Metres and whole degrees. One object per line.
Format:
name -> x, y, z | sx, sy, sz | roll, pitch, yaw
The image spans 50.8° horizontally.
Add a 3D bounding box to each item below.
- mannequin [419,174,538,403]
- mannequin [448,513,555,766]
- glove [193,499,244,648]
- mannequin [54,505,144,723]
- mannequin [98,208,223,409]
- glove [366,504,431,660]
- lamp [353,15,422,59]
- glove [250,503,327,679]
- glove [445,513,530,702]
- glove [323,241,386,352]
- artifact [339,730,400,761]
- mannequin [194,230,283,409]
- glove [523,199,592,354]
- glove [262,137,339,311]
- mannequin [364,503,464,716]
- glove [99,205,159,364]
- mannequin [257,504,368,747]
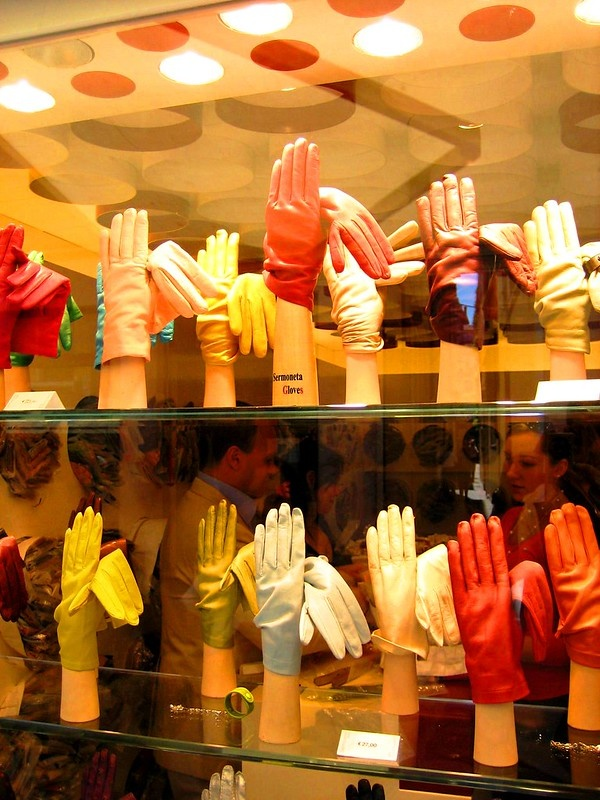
mannequin -> 0.252, -0.145, 0.853 | 0.128, 0.304, 0.184 | -5, -6, 38
mannequin -> 0.239, 0.275, 0.745 | 0.110, 0.282, 0.108 | -4, -5, 21
glove -> -0.122, 0.255, 0.931 | 0.072, 0.209, 0.056 | -1, -2, 11
mannequin -> -0.281, 0.295, 0.878 | 0.127, 0.290, 0.078 | -5, -5, 31
mannequin -> -0.199, -0.128, 0.876 | 0.174, 0.279, 0.099 | -2, -5, -2
glove -> 0.138, 0.232, 0.827 | 0.071, 0.190, 0.135 | -4, -5, 28
lamp -> 0.139, -0.577, 1.013 | 0.109, 0.023, 0.087 | -1, -4, -7
glove -> -0.030, 0.239, 0.802 | 0.070, 0.212, 0.047 | 0, 8, 1
glove -> 0.213, 0.238, 0.732 | 0.074, 0.207, 0.062 | -22, -43, 32
glove -> 0.071, -0.139, 0.847 | 0.078, 0.135, 0.037 | -6, 7, 4
artifact -> 0.083, 0.419, 0.767 | 0.074, 0.015, 0.068 | -3, -4, 11
mannequin -> -0.097, -0.123, 1.012 | 0.169, 0.252, 0.084 | -21, -5, 23
glove -> 0.328, -0.160, 0.805 | 0.070, 0.205, 0.058 | -3, -5, 17
glove -> -0.009, -0.234, 0.854 | 0.081, 0.216, 0.066 | -2, -5, -3
mannequin -> 0.133, 0.272, 0.841 | 0.161, 0.250, 0.101 | -14, -22, 11
glove -> -0.233, -0.166, 0.888 | 0.100, 0.223, 0.061 | 2, -16, -14
mannequin -> 0.008, 0.279, 0.801 | 0.171, 0.293, 0.114 | -6, -6, 44
